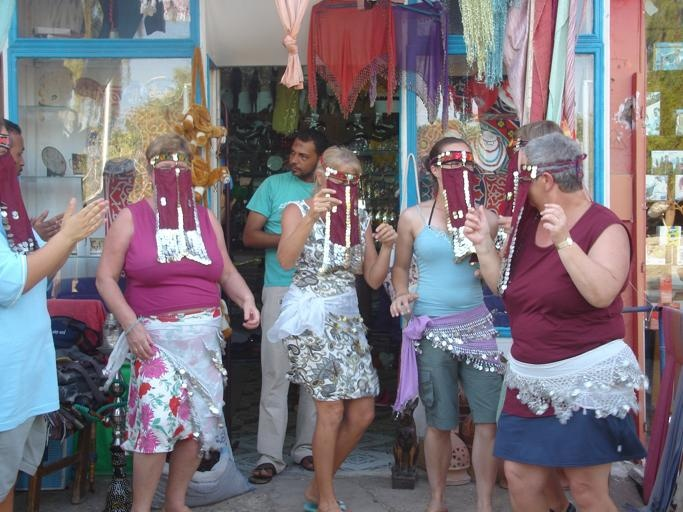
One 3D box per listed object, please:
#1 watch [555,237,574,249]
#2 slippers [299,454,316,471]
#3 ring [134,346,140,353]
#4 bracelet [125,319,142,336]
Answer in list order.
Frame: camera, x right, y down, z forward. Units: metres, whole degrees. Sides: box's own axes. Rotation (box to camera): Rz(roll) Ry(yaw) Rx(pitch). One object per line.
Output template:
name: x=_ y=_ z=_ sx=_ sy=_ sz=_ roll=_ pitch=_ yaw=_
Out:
watch: x=1.037 y=-0.060 z=3.601 sx=0.078 sy=0.056 sz=0.040 roll=1 pitch=8 yaw=17
slippers: x=-0.244 y=1.462 z=5.473 sx=0.078 sy=0.090 sz=0.227 roll=1 pitch=-3 yaw=-21
ring: x=-1.122 y=0.508 z=4.249 sx=0.025 sy=0.024 sz=0.040 roll=-29 pitch=14 yaw=-11
bracelet: x=-1.146 y=0.394 z=4.271 sx=0.077 sy=0.021 sz=0.074 roll=-48 pitch=-6 yaw=19
